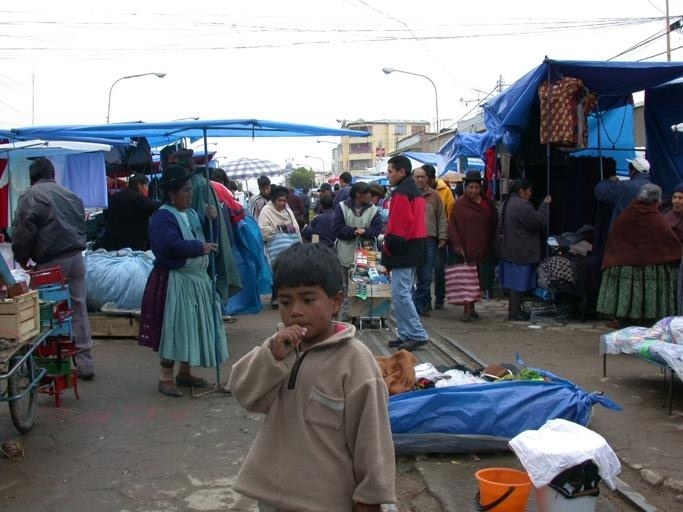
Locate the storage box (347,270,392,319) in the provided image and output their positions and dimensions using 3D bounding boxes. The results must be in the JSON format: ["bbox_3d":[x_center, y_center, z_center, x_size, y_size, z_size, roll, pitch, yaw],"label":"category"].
[{"bbox_3d":[0.380,0.532,8.617,0.569,0.539,0.571,-1,5,-7],"label":"storage box"}]

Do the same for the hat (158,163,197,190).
[{"bbox_3d":[-1.588,-0.755,5.785,0.266,0.239,0.162,0,8,3],"label":"hat"}]

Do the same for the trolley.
[{"bbox_3d":[0.422,0.350,8.856,0.968,1.029,0.931,3,33,1],"label":"trolley"}]

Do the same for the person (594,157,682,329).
[{"bbox_3d":[3.897,-0.058,7.963,0.960,1.735,0.333,2,8,23],"label":"person"}]

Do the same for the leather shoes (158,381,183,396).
[{"bbox_3d":[-1.684,1.298,6.008,0.100,0.131,0.320,0,-2,-38],"label":"leather shoes"}]

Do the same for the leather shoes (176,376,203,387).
[{"bbox_3d":[-1.551,1.280,6.305,0.312,0.128,0.107,0,-1,-4],"label":"leather shoes"}]

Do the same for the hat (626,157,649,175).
[{"bbox_3d":[4.478,-1.379,9.278,0.232,0.175,0.327,-5,28,-32],"label":"hat"}]

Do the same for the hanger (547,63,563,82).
[{"bbox_3d":[2.938,-2.511,8.338,0.251,0.200,0.163,-1,7,1],"label":"hanger"}]

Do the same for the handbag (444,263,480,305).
[{"bbox_3d":[1.853,0.413,9.335,0.585,0.784,0.323,-1,7,10],"label":"handbag"}]
